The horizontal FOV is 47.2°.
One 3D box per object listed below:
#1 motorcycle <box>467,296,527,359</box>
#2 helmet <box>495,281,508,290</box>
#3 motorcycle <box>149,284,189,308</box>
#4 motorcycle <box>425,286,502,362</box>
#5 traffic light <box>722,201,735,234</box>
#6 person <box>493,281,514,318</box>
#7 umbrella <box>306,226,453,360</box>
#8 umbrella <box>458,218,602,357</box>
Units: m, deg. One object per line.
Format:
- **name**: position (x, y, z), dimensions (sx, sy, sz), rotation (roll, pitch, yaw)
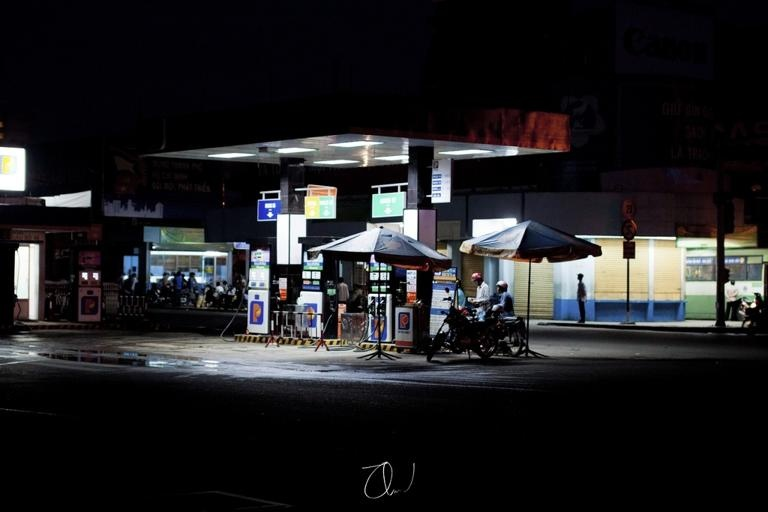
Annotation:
- **motorcycle**: position (3.341, 2.071, 25.195), dimensions (1.173, 1.654, 2.425), rotation (6, -11, -32)
- **helmet**: position (3.513, 0.854, 25.892), dimensions (0.448, 0.361, 0.358), rotation (-1, -2, 2)
- **motorcycle**: position (-10.685, 1.998, 43.188), dimensions (1.791, 1.126, 1.127), rotation (0, -1, 4)
- **motorcycle**: position (2.189, 2.033, 24.235), dimensions (2.682, 1.677, 1.096), rotation (4, 4, -38)
- **traffic light**: position (14.837, -1.734, 37.757), dimensions (0.351, 1.396, 0.373), rotation (0, -7, 11)
- **person**: position (3.483, 1.277, 26.005), dimensions (0.786, 1.090, 0.715), rotation (-2, 3, -11)
- **umbrella**: position (-0.180, 1.130, 26.636), dimensions (4.549, 3.882, 4.271), rotation (3, 0, -4)
- **umbrella**: position (4.570, 0.571, 27.451), dimensions (3.820, 3.574, 3.960), rotation (6, 10, 35)
